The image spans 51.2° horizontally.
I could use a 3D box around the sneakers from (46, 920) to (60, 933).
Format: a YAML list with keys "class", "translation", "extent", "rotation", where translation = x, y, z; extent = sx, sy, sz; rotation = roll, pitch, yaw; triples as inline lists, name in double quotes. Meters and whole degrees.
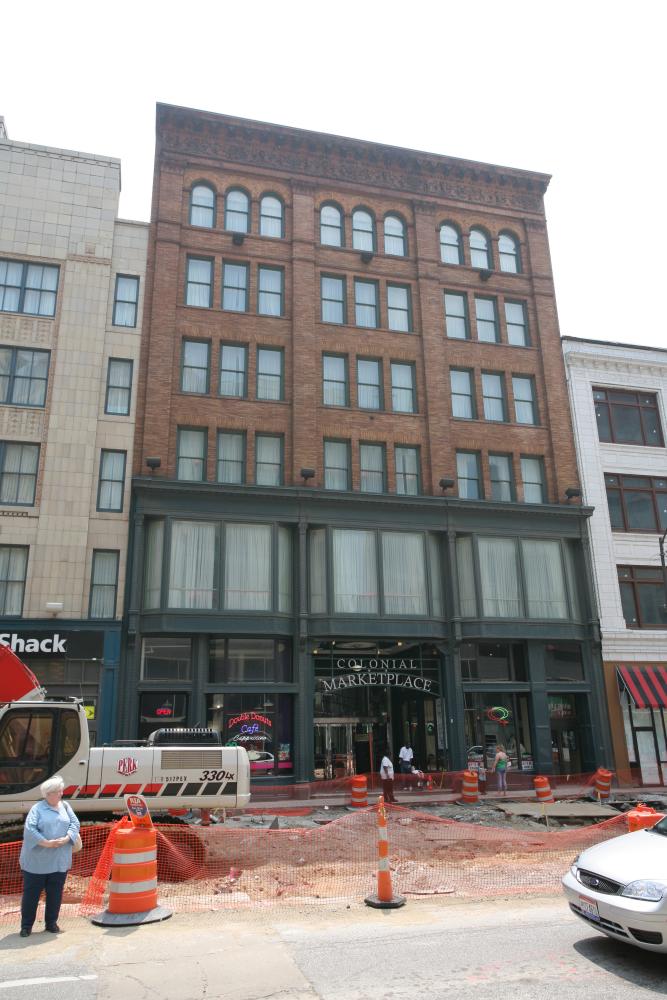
- class: "sneakers"
  translation: [-2.645, 4.021, 6.589]
  extent: [0.168, 0.073, 0.057]
  rotation: [-11, -19, 42]

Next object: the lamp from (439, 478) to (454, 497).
- class: "lamp"
  translation: [4.369, -0.469, 26.768]
  extent: [0.520, 0.661, 0.689]
  rotation: [2, 3, 7]

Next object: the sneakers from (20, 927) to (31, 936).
- class: "sneakers"
  translation: [-2.819, 3.954, 6.383]
  extent: [0.090, 0.060, 0.152]
  rotation: [4, -19, -24]

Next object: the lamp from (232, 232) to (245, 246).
- class: "lamp"
  translation: [-3.741, -10.202, 27.323]
  extent: [0.566, 0.574, 0.476]
  rotation: [1, -13, -11]

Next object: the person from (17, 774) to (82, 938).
- class: "person"
  translation: [-2.721, 3.406, 6.712]
  extent: [0.515, 1.355, 0.608]
  rotation: [3, -18, -20]

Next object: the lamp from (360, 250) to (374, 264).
- class: "lamp"
  translation: [1.385, -10.056, 29.026]
  extent: [0.538, 0.478, 0.516]
  rotation: [4, 28, -2]

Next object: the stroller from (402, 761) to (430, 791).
- class: "stroller"
  translation: [2.729, 9.090, 22.738]
  extent: [0.858, 0.719, 1.181]
  rotation: [2, 1, -18]

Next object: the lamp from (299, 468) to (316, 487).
- class: "lamp"
  translation: [-0.976, -0.833, 25.257]
  extent: [0.578, 0.764, 0.250]
  rotation: [6, -14, -21]

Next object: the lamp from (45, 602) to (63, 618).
- class: "lamp"
  translation: [-8.850, 3.487, 22.099]
  extent: [0.567, 0.542, 0.435]
  rotation: [4, -8, -42]
